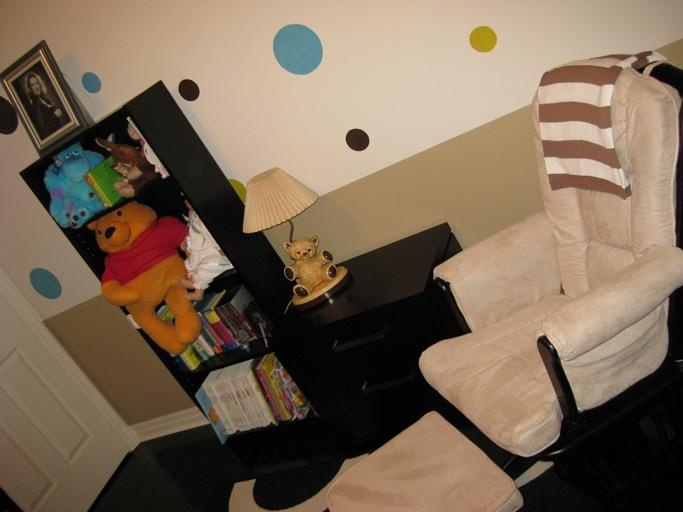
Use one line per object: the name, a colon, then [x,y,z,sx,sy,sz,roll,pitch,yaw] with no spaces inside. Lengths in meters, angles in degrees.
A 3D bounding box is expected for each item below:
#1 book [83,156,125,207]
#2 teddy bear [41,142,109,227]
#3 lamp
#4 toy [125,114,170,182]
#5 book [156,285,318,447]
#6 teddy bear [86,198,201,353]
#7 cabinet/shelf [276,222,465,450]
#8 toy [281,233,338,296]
book: [-1.068,-0.330,2.504,0.151,0.177,0.077,-31,20,-17]
teddy bear: [-1.281,-0.342,2.639,0.333,0.348,0.112,-27,11,-9]
lamp: [-0.226,-0.095,2.581,0.368,0.637,0.344,-24,16,3]
toy: [-0.830,-0.507,2.503,0.057,0.253,0.229,-34,-7,-7]
book: [-0.492,0.528,2.731,0.557,1.027,0.324,-22,33,-2]
teddy bear: [-0.904,0.071,2.766,0.457,0.775,0.293,-21,3,15]
cabinet/shelf: [0.272,0.431,2.722,0.820,0.794,0.634,-18,24,25]
toy: [-0.155,0.038,2.556,0.222,0.256,0.192,-20,14,-13]
